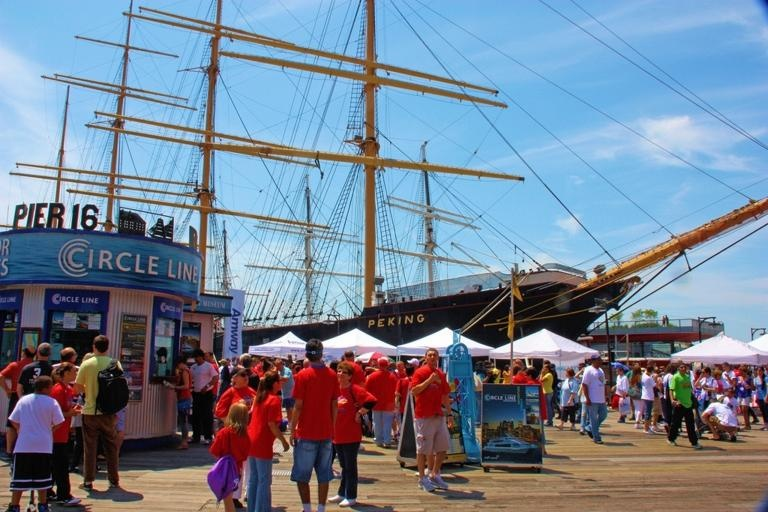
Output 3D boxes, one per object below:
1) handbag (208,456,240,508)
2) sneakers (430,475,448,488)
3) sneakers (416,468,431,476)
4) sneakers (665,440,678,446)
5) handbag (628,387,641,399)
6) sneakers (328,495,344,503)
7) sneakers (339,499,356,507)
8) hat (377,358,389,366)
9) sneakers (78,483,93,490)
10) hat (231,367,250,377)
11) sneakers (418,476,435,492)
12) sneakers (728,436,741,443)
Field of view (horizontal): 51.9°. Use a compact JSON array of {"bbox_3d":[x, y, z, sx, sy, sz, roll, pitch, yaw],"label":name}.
[{"bbox_3d":[-2.731,3.758,13.423,0.507,0.737,0.242,2,-14,-12],"label":"handbag"},{"bbox_3d":[1.092,4.481,15.719,0.409,0.169,0.146,9,-2,36],"label":"sneakers"},{"bbox_3d":[0.793,4.323,15.799,0.219,0.151,0.404,1,-13,-8],"label":"sneakers"},{"bbox_3d":[7.349,4.764,20.168,0.150,0.170,0.431,0,-12,3],"label":"sneakers"},{"bbox_3d":[7.450,4.090,23.593,0.307,0.332,0.355,5,-17,-12],"label":"handbag"},{"bbox_3d":[-0.904,4.558,14.819,0.267,0.103,0.135,7,-21,2],"label":"sneakers"},{"bbox_3d":[-0.685,4.564,14.608,0.266,0.103,0.133,6,-29,-1],"label":"sneakers"},{"bbox_3d":[-0.024,2.513,18.798,0.337,0.147,0.514,4,-3,-3],"label":"hat"},{"bbox_3d":[-5.733,4.399,15.141,0.245,0.104,0.106,1,-6,35],"label":"sneakers"},{"bbox_3d":[-2.730,2.204,15.048,0.353,0.180,0.282,6,-14,-27],"label":"hat"},{"bbox_3d":[0.831,4.484,15.604,0.159,0.179,0.399,4,-7,-34],"label":"sneakers"},{"bbox_3d":[9.412,4.910,21.209,0.237,0.082,0.234,0,0,9],"label":"sneakers"}]
